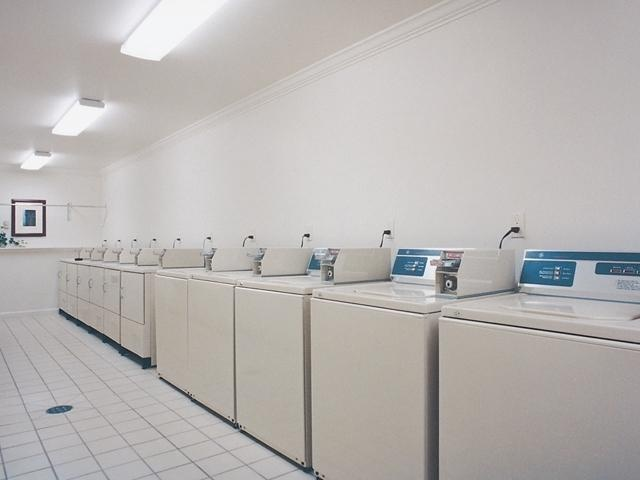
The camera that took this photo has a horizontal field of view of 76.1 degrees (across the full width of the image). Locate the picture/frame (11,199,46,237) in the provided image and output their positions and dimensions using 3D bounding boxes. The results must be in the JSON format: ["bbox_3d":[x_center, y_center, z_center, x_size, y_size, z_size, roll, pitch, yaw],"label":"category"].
[{"bbox_3d":[-5.882,-0.447,8.211,0.747,1.044,0.073,1,-2,-44],"label":"picture/frame"}]
